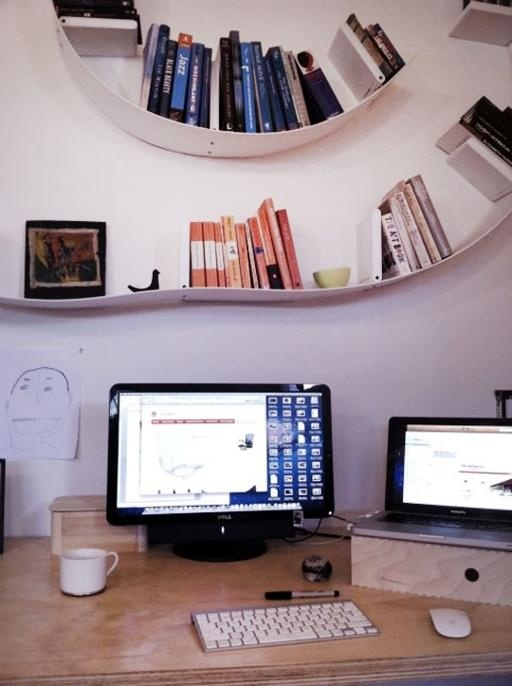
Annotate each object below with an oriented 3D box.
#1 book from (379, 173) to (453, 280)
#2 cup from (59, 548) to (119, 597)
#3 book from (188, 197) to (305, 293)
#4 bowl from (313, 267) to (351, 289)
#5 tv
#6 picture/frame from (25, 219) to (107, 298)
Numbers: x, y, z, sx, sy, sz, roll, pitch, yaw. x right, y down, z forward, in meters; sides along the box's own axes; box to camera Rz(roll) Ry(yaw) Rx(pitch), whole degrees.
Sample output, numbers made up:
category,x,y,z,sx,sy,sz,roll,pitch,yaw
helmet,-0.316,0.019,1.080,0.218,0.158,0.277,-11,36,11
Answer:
category,x,y,z,sx,sy,sz,roll,pitch,yaw
book,0.403,-0.292,1.461,0.120,0.223,0.232,-17,-14,3
cup,-0.297,0.401,1.002,0.089,0.062,0.069,6,-20,-18
book,-0.022,-0.194,1.456,0.273,0.295,0.208,-5,-12,2
bowl,0.189,-0.164,1.420,0.063,0.045,0.066,-12,-4,-1
tv,-0.087,0.271,1.211,0.330,0.275,0.111,0,-9,-9
picture/frame,-0.475,-0.203,1.395,0.183,0.201,0.019,-1,-2,-5
